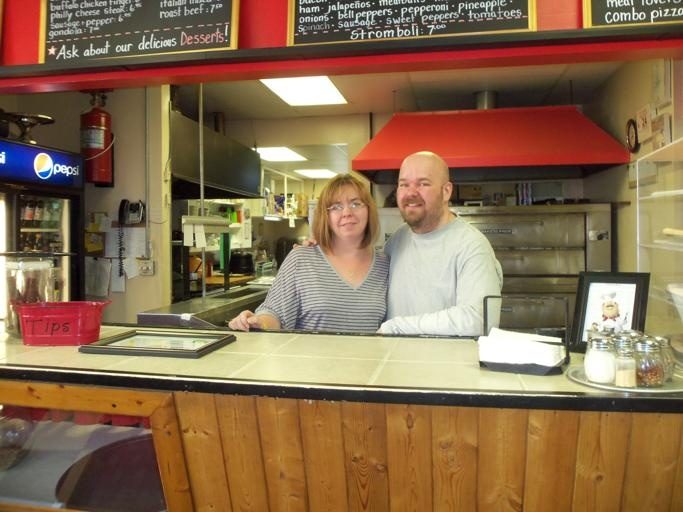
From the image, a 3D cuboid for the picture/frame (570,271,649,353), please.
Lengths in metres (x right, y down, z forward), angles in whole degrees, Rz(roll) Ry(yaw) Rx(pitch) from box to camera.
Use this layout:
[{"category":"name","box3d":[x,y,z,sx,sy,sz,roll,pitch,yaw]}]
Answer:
[{"category":"picture/frame","box3d":[0.949,0.202,2.012,0.284,0.361,0.048,3,-14,35]}]

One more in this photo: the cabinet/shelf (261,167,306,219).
[{"category":"cabinet/shelf","box3d":[-0.969,-1.047,9.419,0.575,0.762,1.095,1,3,8]}]

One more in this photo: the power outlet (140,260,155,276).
[{"category":"power outlet","box3d":[-1.735,0.099,5.087,0.143,0.140,0.078,1,1,5]}]

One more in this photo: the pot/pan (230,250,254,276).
[{"category":"pot/pan","box3d":[-1.208,0.081,6.882,0.264,0.231,0.260,4,-5,-30]}]

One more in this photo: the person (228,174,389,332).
[{"category":"person","box3d":[-0.082,-0.021,2.782,0.634,0.763,0.351,2,2,3]}]

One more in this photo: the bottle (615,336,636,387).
[{"category":"bottle","box3d":[0.880,0.327,1.757,0.064,0.134,0.043,3,2,16]}]

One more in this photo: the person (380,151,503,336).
[{"category":"person","box3d":[0.407,-0.080,2.665,0.633,0.849,0.589,3,2,29]}]

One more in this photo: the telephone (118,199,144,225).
[{"category":"telephone","box3d":[-1.857,-0.365,5.118,0.264,0.251,0.213,0,-3,5]}]

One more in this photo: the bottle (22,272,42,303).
[{"category":"bottle","box3d":[-1.284,0.130,2.366,0.068,0.124,0.017,1,2,-29]}]

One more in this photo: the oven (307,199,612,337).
[{"category":"oven","box3d":[0.779,0.062,3.377,1.137,1.042,0.615,-3,-11,21]}]

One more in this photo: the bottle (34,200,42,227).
[{"category":"bottle","box3d":[-2.340,-0.333,4.393,0.058,0.187,0.081,1,2,-35]}]

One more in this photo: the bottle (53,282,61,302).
[{"category":"bottle","box3d":[-1.311,0.163,2.629,0.018,0.107,0.383,2,1,-24]}]

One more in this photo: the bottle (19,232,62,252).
[{"category":"bottle","box3d":[-2.363,-0.111,4.448,0.096,0.118,0.181,4,5,38]}]

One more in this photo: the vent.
[{"category":"vent","box3d":[1.352,-1.131,5.809,2.627,0.652,1.487,-2,2,0]}]

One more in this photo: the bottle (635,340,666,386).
[{"category":"bottle","box3d":[0.970,0.340,1.798,0.105,0.150,0.097,-3,-1,0]}]
